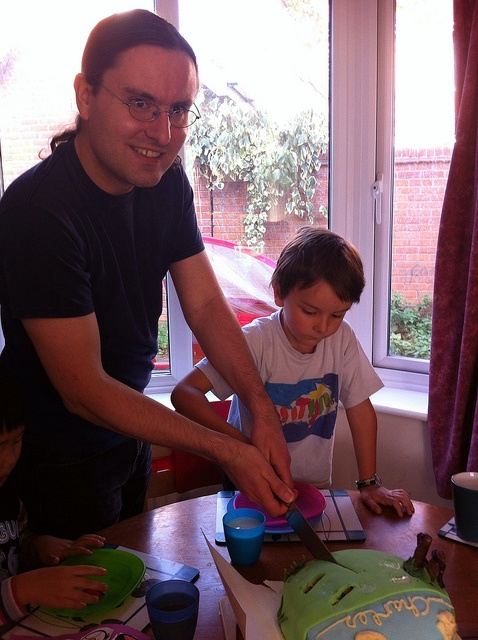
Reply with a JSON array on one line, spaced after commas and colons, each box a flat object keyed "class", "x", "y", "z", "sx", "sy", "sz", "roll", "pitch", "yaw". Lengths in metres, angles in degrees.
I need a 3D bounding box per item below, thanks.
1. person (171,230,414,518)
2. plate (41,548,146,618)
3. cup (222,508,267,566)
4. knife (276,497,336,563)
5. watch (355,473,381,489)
[{"class": "person", "x": 0.180, "y": 0.074, "z": 1.506, "sx": 0.673, "sy": 0.968, "sz": 0.606, "roll": -11, "pitch": 24, "yaw": -29}, {"class": "plate", "x": -0.216, "y": 0.400, "z": 0.729, "sx": 0.140, "sy": 0.031, "sz": 0.157, "roll": -2, "pitch": 0, "yaw": -3}, {"class": "cup", "x": 0.008, "y": 0.355, "z": 0.790, "sx": 0.055, "sy": 0.074, "sz": 0.074, "roll": 0, "pitch": -4, "yaw": 1}, {"class": "knife", "x": 0.097, "y": 0.302, "z": 0.721, "sx": 0.006, "sy": 0.027, "sz": 0.176, "roll": -7, "pitch": 33, "yaw": -18}, {"class": "watch", "x": 0.305, "y": 0.381, "z": 1.127, "sx": 0.043, "sy": 0.036, "sz": 0.048, "roll": -19, "pitch": -23, "yaw": 17}]
